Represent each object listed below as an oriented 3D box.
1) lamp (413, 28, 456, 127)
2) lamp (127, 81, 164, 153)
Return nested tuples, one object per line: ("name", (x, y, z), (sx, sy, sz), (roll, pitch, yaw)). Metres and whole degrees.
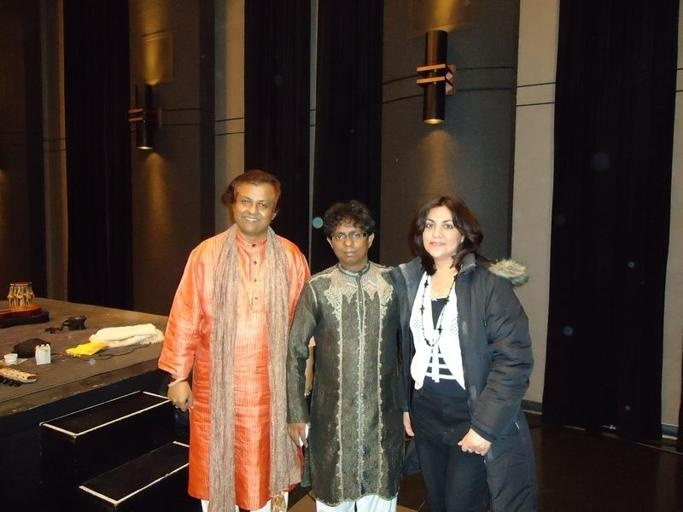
("lamp", (0.977, -1.864, 6.372), (0.367, 0.913, 0.147), (-1, 3, 11))
("lamp", (-2.639, -1.873, 8.205), (0.377, 0.796, 0.227), (5, 7, 31))
